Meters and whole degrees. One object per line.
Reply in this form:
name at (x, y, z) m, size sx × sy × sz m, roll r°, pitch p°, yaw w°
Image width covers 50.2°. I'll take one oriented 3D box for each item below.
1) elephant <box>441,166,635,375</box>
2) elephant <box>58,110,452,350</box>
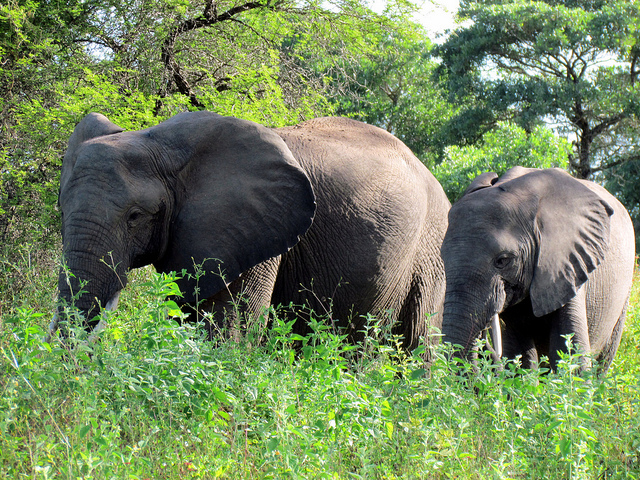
elephant at (1.981, 0.168, 5.784) m, size 2.058 × 1.991 × 0.912 m, roll 19°, pitch -19°, yaw -37°
elephant at (-0.461, -0.080, 6.197) m, size 3.688 × 2.059 × 1.755 m, roll 5°, pitch -6°, yaw -37°
